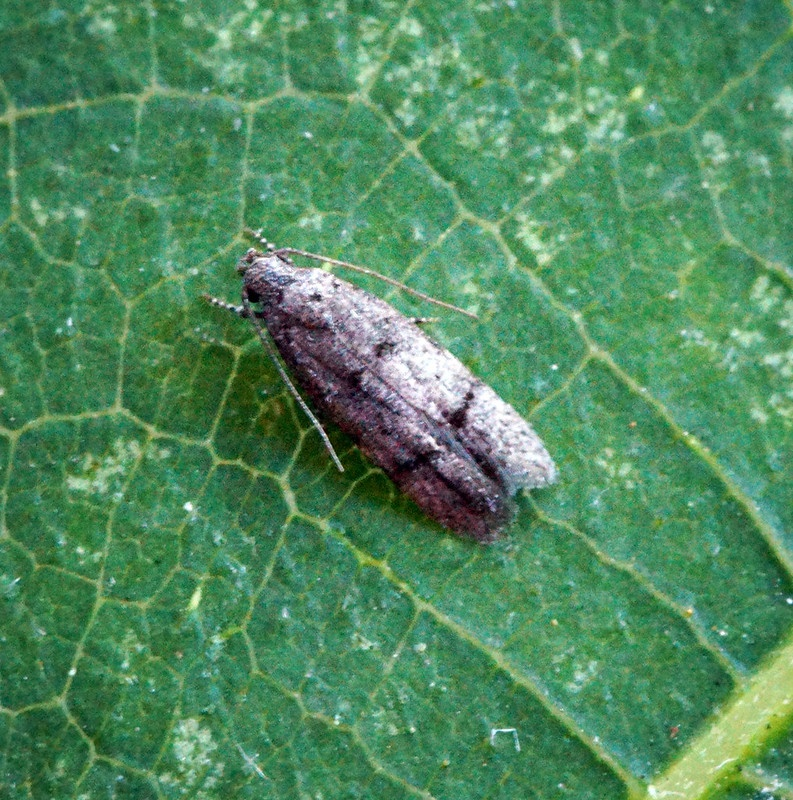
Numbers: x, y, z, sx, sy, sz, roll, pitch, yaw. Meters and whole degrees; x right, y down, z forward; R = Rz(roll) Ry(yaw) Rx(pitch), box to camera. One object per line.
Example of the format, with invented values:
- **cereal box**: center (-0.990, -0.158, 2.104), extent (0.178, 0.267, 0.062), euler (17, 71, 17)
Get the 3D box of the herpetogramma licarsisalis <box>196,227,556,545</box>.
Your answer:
- **herpetogramma licarsisalis**: center (-0.071, -0.102, 8.289), extent (2.715, 0.737, 1.525), euler (41, 89, 1)
